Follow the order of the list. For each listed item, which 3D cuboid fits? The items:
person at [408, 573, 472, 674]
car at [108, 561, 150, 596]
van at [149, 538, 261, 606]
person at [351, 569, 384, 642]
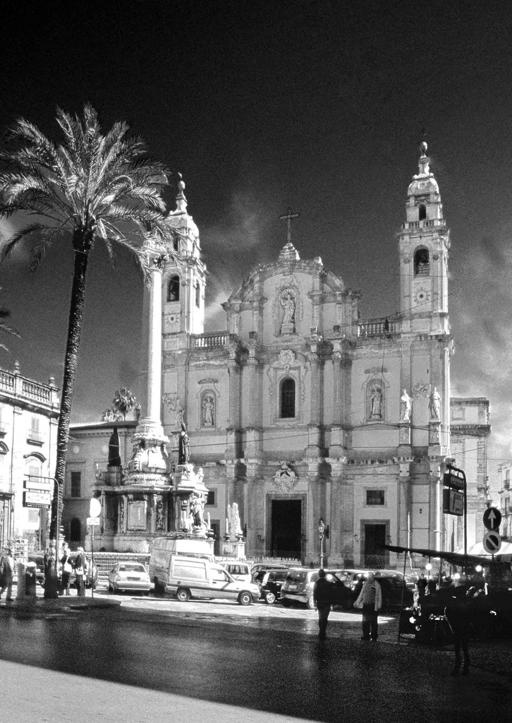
[{"bbox_3d":[3.220,4.632,17.430,1.007,1.403,0.428,2,-8,30],"label":"person"},{"bbox_3d":[-4.430,7.565,35.068,1.496,1.110,1.113,0,-13,6],"label":"car"},{"bbox_3d":[-1.910,6.978,33.542,3.760,2.219,2.401,-1,-13,13],"label":"van"},{"bbox_3d":[2.244,4.954,20.284,0.499,1.302,1.561,1,-13,6],"label":"person"}]
